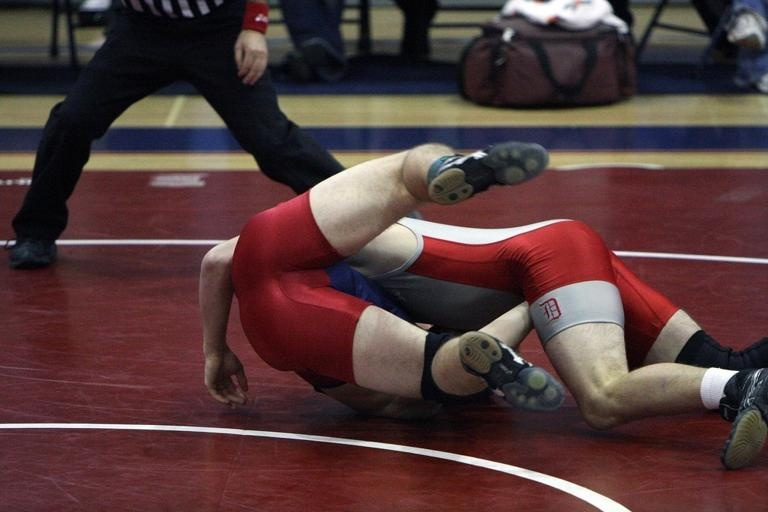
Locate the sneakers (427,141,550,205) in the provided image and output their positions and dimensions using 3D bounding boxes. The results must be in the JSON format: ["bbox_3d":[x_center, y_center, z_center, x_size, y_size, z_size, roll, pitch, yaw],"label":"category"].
[{"bbox_3d":[0.232,-0.203,1.807,0.345,0.104,0.131,-11,14,9],"label":"sneakers"}]

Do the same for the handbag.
[{"bbox_3d":[1.302,-1.562,6.479,1.142,0.469,1.003,-2,5,-10],"label":"handbag"}]
